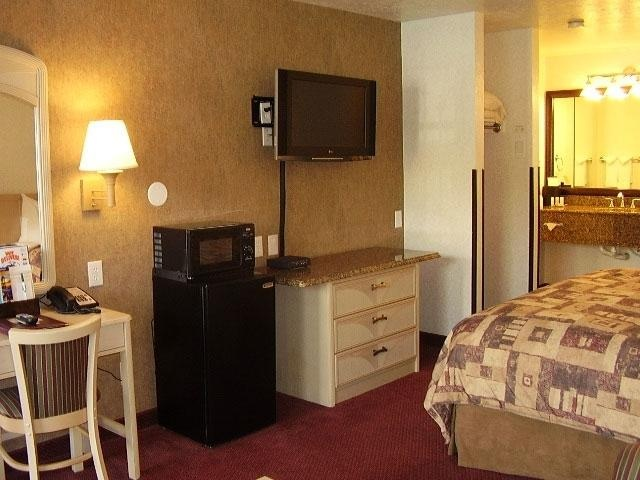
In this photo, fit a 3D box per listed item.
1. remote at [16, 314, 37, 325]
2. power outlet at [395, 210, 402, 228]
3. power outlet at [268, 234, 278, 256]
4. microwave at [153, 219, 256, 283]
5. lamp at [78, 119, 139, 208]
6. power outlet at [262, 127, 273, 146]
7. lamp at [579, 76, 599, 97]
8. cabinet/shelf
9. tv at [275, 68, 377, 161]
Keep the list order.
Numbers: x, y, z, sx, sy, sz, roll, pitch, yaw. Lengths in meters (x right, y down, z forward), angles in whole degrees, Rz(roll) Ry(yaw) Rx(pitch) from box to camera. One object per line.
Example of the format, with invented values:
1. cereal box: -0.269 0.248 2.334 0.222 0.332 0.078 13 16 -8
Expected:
1. remote: -1.477 0.399 2.734 0.091 0.033 0.057 5 5 35
2. power outlet: 0.741 -0.201 5.120 0.021 0.182 0.143 3 6 34
3. power outlet: -0.366 0.037 4.156 0.019 0.206 0.141 2 4 37
4. microwave: -0.759 -0.045 3.417 0.361 0.343 0.508 4 6 39
5. lamp: -1.271 -0.465 3.228 0.306 0.507 0.266 -6 12 -29
6. power outlet: -0.387 -0.769 4.002 0.091 0.197 0.098 2 10 4
7. lamp: 3.082 -1.718 6.140 0.192 0.262 0.237 -5 8 -40
8. cabinet/shelf: 0.292 0.663 4.303 1.429 0.988 0.594 -9 9 -40
9. tv: 0.019 -0.957 4.141 0.712 0.555 0.096 -5 7 -40
